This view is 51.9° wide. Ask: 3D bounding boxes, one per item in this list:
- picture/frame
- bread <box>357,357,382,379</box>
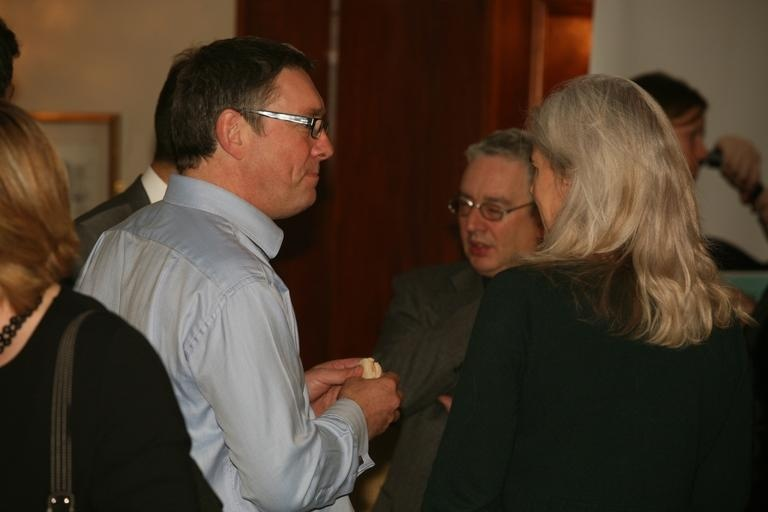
[{"bbox_3d":[-1.818,-0.566,4.773,0.435,0.491,0.023,-1,9,9],"label":"picture/frame"},{"bbox_3d":[-0.053,0.376,2.655,0.060,0.060,0.025,-22,14,-26],"label":"bread"}]
